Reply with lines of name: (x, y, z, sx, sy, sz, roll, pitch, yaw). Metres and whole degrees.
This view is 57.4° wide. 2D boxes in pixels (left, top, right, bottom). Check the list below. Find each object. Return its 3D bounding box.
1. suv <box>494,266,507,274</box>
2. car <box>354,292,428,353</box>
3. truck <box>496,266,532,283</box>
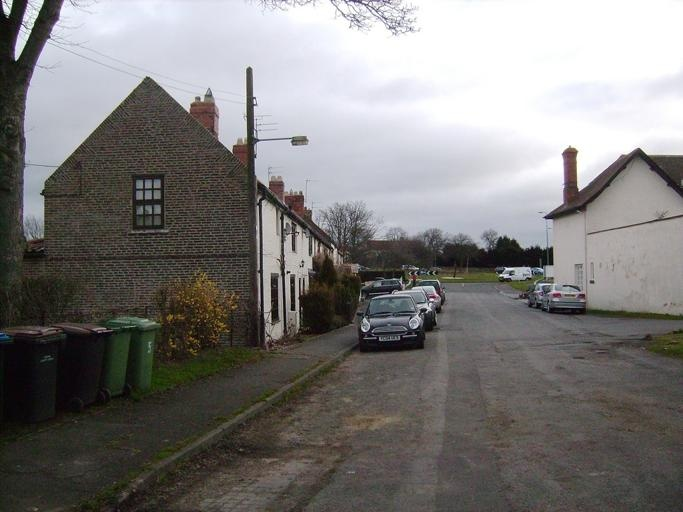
suv: (24.636, 2.111, 96.698, 1.725, 1.024, 1.148, -6, 2, 17)
car: (1.413, 1.981, 17.825, 1.755, 1.332, 1.996, -1, 1, 2)
truck: (21.993, 2.299, 79.190, 3.008, 1.781, 2.012, -1, -1, 1)
